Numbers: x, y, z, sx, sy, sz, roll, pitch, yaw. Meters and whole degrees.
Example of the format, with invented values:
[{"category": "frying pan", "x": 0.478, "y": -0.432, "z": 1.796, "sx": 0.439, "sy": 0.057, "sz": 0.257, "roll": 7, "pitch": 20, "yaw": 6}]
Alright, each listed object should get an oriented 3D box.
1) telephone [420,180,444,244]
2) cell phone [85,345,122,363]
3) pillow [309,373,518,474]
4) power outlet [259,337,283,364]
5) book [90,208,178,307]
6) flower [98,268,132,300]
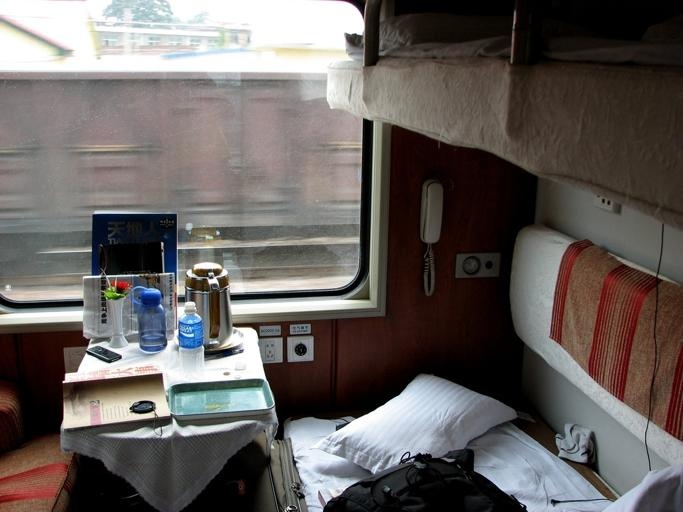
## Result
[{"category": "telephone", "x": 0.435, "y": -0.201, "z": 2.706, "sx": 0.113, "sy": 0.290, "sz": 0.068, "roll": -3, "pitch": 9, "yaw": -45}, {"category": "cell phone", "x": -0.945, "y": 0.368, "z": 2.237, "sx": 0.137, "sy": 0.022, "sz": 0.062, "roll": 14, "pitch": 17, "yaw": 30}, {"category": "pillow", "x": 0.342, "y": 0.703, "z": 2.400, "sx": 0.573, "sy": 0.132, "sz": 0.398, "roll": -19, "pitch": 24, "yaw": -36}, {"category": "power outlet", "x": -0.345, "y": 0.445, "z": 2.712, "sx": 0.125, "sy": 0.146, "sz": 0.018, "roll": -2, "pitch": 12, "yaw": -17}, {"category": "book", "x": -0.883, "y": 0.014, "z": 2.387, "sx": 0.380, "sy": 0.352, "sz": 0.126, "roll": 1, "pitch": -10, "yaw": -6}, {"category": "flower", "x": -0.918, "y": 0.113, "z": 2.280, "sx": 0.110, "sy": 0.112, "sz": 0.085, "roll": -9, "pitch": 14, "yaw": -23}]
